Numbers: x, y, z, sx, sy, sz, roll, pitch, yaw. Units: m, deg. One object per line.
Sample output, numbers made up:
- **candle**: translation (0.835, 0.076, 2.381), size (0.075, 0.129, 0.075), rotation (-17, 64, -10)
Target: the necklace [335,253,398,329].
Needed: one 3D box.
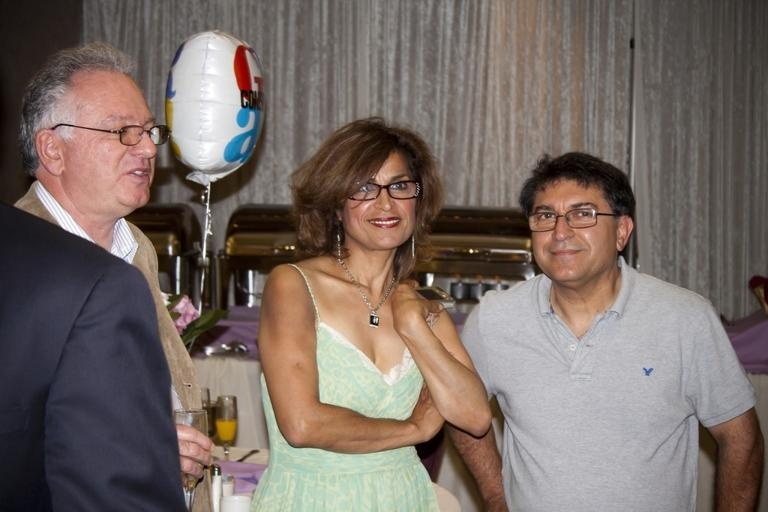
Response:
- **necklace**: translation (-0.070, 0.129, 2.467), size (0.194, 0.224, 0.023), rotation (22, -39, -38)

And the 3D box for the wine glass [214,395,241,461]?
- **wine glass**: translation (-0.628, 0.670, 2.779), size (0.085, 0.234, 0.135), rotation (-2, 10, -15)

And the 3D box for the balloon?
- **balloon**: translation (-0.825, -0.774, 3.536), size (0.361, 0.844, 0.567), rotation (8, 25, -3)
